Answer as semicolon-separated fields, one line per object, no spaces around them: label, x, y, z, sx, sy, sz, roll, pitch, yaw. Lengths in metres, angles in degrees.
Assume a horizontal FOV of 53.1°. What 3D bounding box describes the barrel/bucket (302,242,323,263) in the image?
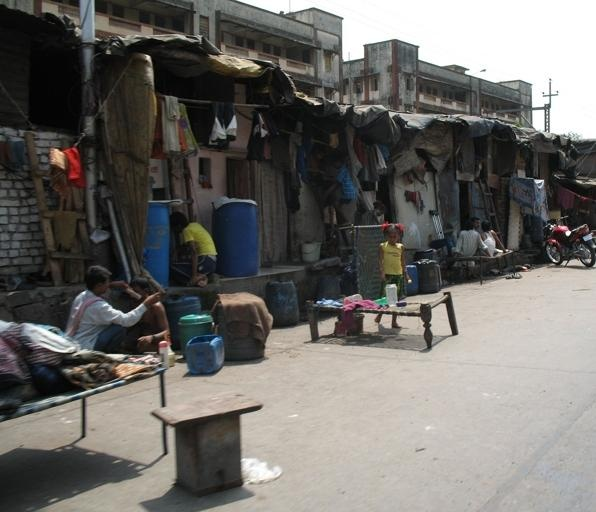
barrel/bucket;0.301;-0.076;12.664;0.380;0.359;0.368;2;0;0

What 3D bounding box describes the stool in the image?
stool;-0.672;1.166;4.255;0.851;0.633;0.511;-1;4;-36

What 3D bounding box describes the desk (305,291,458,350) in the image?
desk;1.231;0.893;8.608;1.950;0.621;1.257;-3;2;31

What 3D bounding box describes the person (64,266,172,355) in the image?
person;-2.067;0.664;7.081;1.012;1.159;2.150;-4;2;-10

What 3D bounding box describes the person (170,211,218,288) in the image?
person;-1.681;-0.122;9.627;0.694;1.197;1.175;-4;2;-11

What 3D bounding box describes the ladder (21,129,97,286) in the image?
ladder;-3.430;-0.688;8.561;0.753;1.708;0.489;-5;3;-30

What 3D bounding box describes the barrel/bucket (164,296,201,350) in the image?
barrel/bucket;-1.635;0.951;8.419;0.594;0.703;0.622;-1;-2;0

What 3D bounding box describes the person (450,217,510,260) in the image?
person;4.552;-0.349;15.094;1.005;0.754;1.361;1;9;23

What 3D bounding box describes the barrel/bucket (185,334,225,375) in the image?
barrel/bucket;-1.105;1.156;6.951;0.323;0.346;0.466;-1;-7;3
